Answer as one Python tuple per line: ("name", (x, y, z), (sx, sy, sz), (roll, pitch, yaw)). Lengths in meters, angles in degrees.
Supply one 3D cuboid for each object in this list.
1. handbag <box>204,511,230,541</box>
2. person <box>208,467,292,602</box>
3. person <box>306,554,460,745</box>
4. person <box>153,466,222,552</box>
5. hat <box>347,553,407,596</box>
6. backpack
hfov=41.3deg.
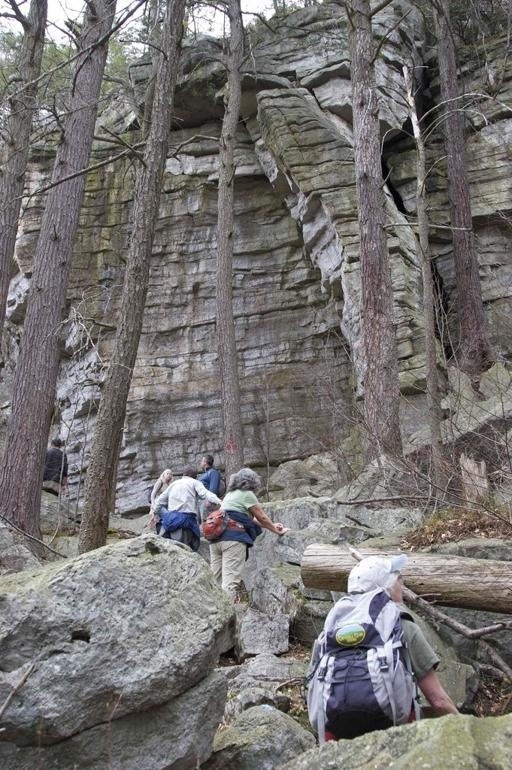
("handbag", (-0.381, 1.414, 6.714), (0.178, 0.327, 0.243), (25, -20, -37))
("person", (-0.130, 1.519, 6.848), (0.788, 1.284, 0.477), (-5, -11, 3))
("person", (0.568, 1.148, 2.978), (0.642, 0.785, 0.403), (-4, -36, 14))
("person", (-0.755, 1.353, 6.825), (0.757, 0.972, 0.302), (-10, -35, 12))
("hat", (0.579, 0.896, 3.224), (0.269, 0.101, 0.165), (-21, 5, -34))
("backpack", (0.463, 1.205, 2.939), (0.437, 0.564, 0.396), (-11, -32, 16))
